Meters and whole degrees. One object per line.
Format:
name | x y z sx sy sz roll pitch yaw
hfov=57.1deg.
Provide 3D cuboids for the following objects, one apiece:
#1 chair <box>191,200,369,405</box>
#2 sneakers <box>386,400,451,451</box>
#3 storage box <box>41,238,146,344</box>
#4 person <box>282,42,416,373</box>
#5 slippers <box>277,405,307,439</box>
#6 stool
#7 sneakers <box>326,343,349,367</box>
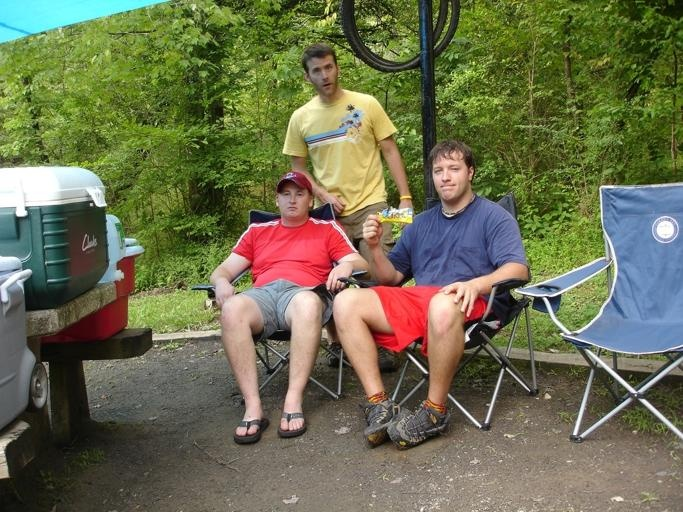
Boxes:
chair | -0.305 0.405 4.443 1.382 1.774 1.174 -1 -3 9
sneakers | 0.426 0.937 3.494 0.366 0.178 0.192 -15 55 -19
storage box | -1.454 0.196 3.871 0.529 0.466 0.564 1 9 11
person | 0.066 -0.353 4.381 0.877 2.215 0.708 -6 9 31
slippers | -0.284 0.964 3.615 0.169 0.134 0.108 -5 14 -6
stool | -1.524 0.830 3.869 0.714 0.639 0.267 -2 2 -25
sneakers | -0.031 0.704 4.411 0.147 0.093 0.246 -1 -2 -3
